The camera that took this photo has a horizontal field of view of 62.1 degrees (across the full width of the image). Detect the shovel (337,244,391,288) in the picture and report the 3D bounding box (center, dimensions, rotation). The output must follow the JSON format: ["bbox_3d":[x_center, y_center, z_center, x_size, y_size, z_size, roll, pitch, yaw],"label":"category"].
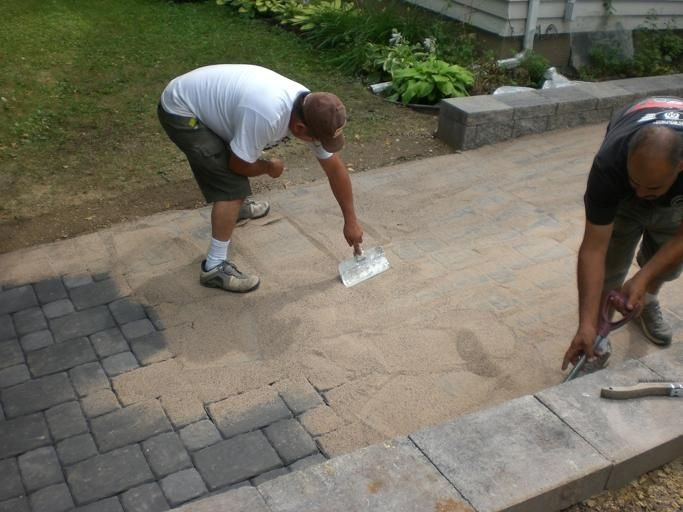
[{"bbox_3d":[0.167,0.086,4.299,0.377,0.135,0.265,-23,62,0],"label":"shovel"}]

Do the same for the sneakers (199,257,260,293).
[{"bbox_3d":[-0.830,0.167,4.364,0.541,0.234,0.187,6,38,-5],"label":"sneakers"}]

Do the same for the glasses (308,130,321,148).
[{"bbox_3d":[-0.180,-0.825,3.945,0.087,0.088,0.035,3,37,13],"label":"glasses"}]

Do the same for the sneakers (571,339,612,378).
[{"bbox_3d":[1.475,0.599,3.350,0.143,0.355,0.092,-3,61,-13],"label":"sneakers"}]

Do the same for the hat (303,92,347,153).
[{"bbox_3d":[-0.119,-0.889,3.906,0.302,0.464,0.260,5,38,11],"label":"hat"}]

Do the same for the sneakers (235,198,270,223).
[{"bbox_3d":[-0.798,-0.430,5.164,0.359,0.159,0.126,-17,47,-19],"label":"sneakers"}]

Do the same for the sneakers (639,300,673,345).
[{"bbox_3d":[2.183,0.472,3.946,0.117,0.139,0.308,-26,70,11],"label":"sneakers"}]
